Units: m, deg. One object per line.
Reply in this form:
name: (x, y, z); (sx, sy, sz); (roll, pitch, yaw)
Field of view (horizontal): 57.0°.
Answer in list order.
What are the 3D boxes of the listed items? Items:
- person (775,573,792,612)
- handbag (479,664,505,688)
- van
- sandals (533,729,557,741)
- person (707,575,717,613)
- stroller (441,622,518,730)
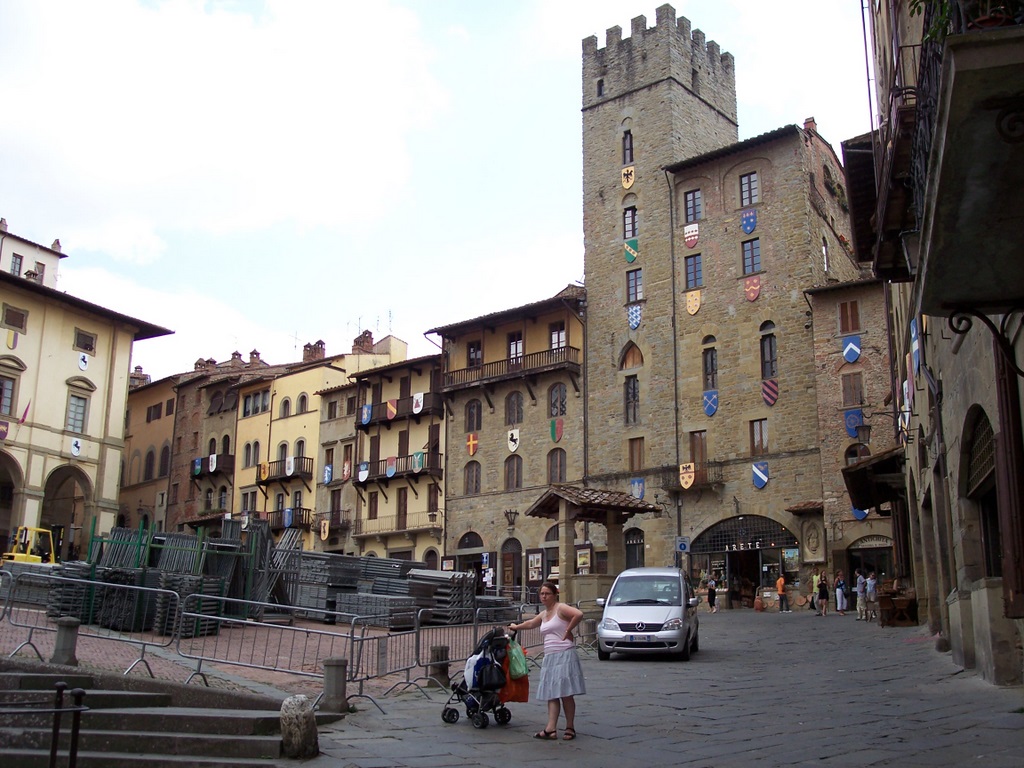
person: (10.738, 8.210, 37.268); (0.486, 1.378, 1.791); (-6, -17, 15)
handbag: (-0.254, 3.693, 11.910); (0.318, 0.302, 0.153); (-1, -16, -3)
van: (3.045, 4.990, 20.496); (1.361, 1.192, 2.473); (-5, -20, 16)
sandals: (0.403, 4.161, 11.193); (0.241, 0.099, 0.106); (0, -19, 20)
person: (8.386, 8.640, 39.476); (0.387, 1.502, 1.461); (-6, -17, 14)
stroller: (-0.565, 3.916, 12.706); (1.161, 1.840, 1.085); (0, -17, 8)
